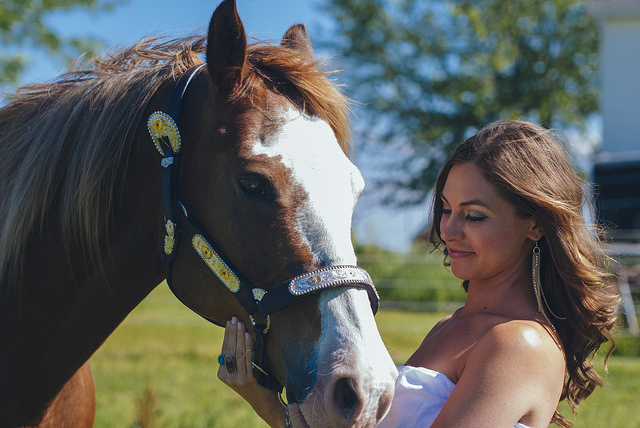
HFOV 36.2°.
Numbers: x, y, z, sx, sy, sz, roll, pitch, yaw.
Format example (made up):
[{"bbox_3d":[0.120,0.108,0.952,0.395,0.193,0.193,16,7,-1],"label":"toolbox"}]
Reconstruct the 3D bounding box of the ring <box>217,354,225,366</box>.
[{"bbox_3d":[-1.036,1.524,10.317,0.028,0.096,0.097,-8,38,-39],"label":"ring"}]
